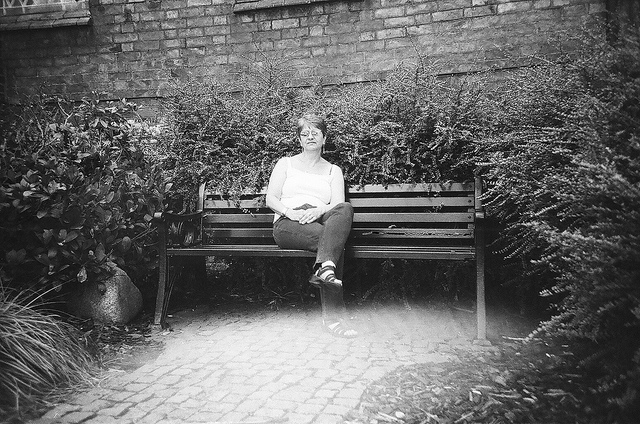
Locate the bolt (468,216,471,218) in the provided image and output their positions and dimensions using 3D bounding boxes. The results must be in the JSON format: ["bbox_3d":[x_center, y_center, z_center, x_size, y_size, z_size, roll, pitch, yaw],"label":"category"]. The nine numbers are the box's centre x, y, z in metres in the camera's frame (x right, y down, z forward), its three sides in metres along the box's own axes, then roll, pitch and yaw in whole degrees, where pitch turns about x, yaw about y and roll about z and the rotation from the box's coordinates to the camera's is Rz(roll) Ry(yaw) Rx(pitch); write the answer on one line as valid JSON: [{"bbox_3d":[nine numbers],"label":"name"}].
[{"bbox_3d":[1.494,0.047,5.033,0.021,0.012,0.008,-1,-4,15],"label":"bolt"}]

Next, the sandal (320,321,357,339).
[{"bbox_3d":[0.175,1.091,4.762,0.309,0.125,0.121,1,8,28],"label":"sandal"}]

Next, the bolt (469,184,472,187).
[{"bbox_3d":[1.516,-0.264,5.072,0.035,0.021,0.015,-1,-2,20],"label":"bolt"}]

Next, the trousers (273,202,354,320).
[{"bbox_3d":[-0.028,0.457,5.015,0.756,1.110,0.452,5,9,39],"label":"trousers"}]

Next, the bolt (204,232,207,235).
[{"bbox_3d":[-1.280,0.232,5.639,0.030,0.029,0.003,1,7,13],"label":"bolt"}]

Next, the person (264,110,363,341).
[{"bbox_3d":[-0.003,0.051,5.071,0.860,2.114,1.201,-3,8,-21],"label":"person"}]
